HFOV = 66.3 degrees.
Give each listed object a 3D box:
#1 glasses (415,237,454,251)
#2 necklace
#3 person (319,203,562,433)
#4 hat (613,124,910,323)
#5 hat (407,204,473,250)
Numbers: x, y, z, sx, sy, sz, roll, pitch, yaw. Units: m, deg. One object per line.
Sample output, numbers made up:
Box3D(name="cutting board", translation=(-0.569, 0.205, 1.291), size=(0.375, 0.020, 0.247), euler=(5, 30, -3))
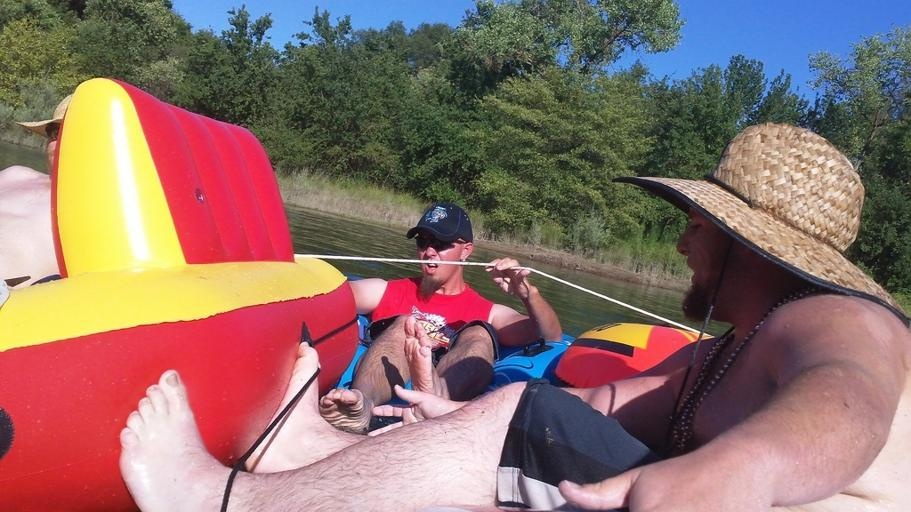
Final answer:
Box3D(name="glasses", translation=(-0.121, -0.081, 4.564), size=(0.161, 0.105, 0.166), euler=(-13, -6, 42))
Box3D(name="necklace", translation=(1.061, 0.450, 2.682), size=(0.113, 0.637, 0.427), euler=(41, 7, -22))
Box3D(name="person", translation=(-0.042, 0.288, 3.938), size=(1.062, 0.788, 1.335), euler=(1, -4, 6))
Box3D(name="hat", translation=(1.079, -0.164, 2.517), size=(0.784, 0.310, 0.781), euler=(21, 10, -3))
Box3D(name="hat", translation=(-0.096, -0.242, 4.690), size=(0.350, 0.251, 0.492), euler=(12, 5, 24))
